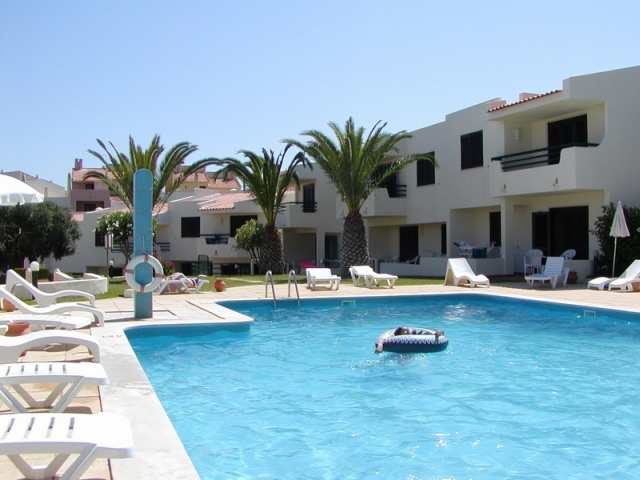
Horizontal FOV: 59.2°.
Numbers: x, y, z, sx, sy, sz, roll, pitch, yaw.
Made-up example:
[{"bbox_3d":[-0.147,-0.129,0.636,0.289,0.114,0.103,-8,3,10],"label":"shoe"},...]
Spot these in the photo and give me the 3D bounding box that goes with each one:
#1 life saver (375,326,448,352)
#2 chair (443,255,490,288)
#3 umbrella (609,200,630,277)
[{"bbox_3d":[1.697,1.843,10.309,0.661,0.270,0.720,-1,-7,2],"label":"life saver"},{"bbox_3d":[5.310,1.154,20.155,0.867,0.977,1.450,-2,-2,-29],"label":"chair"},{"bbox_3d":[10.434,-0.485,19.359,0.605,3.646,0.838,-2,5,5],"label":"umbrella"}]
